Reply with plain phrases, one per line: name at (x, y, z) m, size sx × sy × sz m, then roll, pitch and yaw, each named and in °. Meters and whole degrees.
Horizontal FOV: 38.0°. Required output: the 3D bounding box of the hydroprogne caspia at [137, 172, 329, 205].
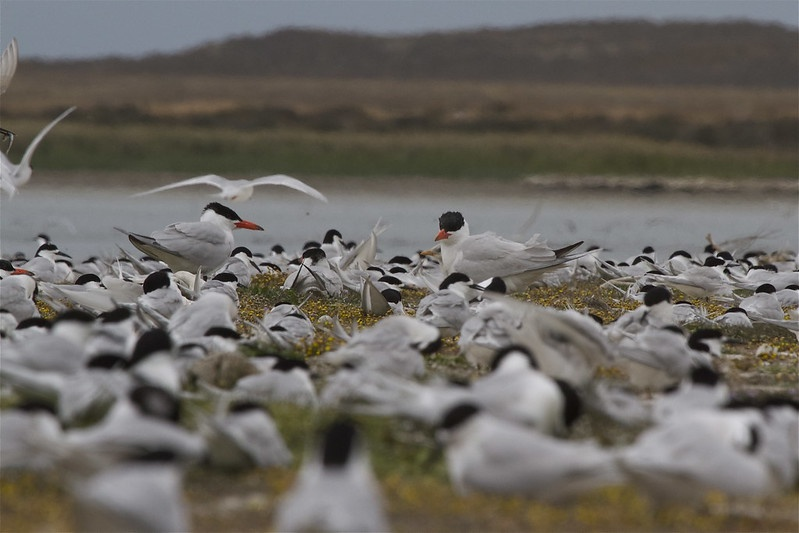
hydroprogne caspia at (-1.802, -0.895, 12.943) m, size 2.013 × 0.369 × 0.280 m, roll 3°, pitch 16°, yaw -10°
